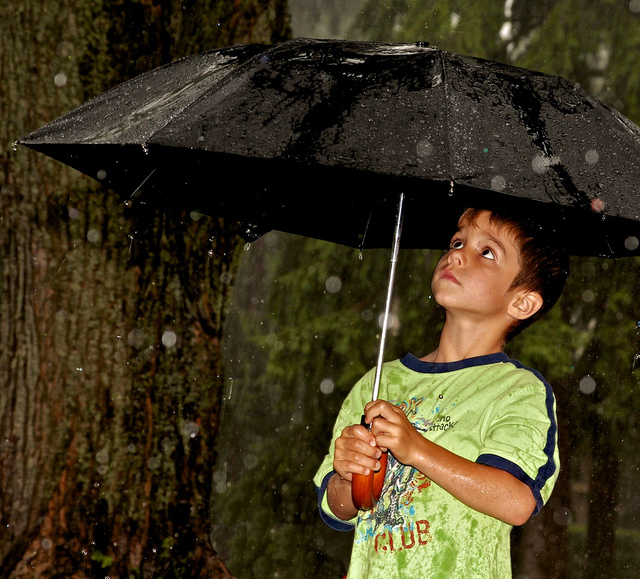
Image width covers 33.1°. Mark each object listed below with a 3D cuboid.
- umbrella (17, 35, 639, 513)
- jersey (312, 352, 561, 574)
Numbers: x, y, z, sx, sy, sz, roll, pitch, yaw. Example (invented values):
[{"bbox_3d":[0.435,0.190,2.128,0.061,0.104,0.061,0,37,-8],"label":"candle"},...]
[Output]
[{"bbox_3d":[0.170,-0.461,4.606,2.303,1.602,0.917,3,57,22],"label":"umbrella"},{"bbox_3d":[0.456,0.652,4.349,1.013,0.595,0.926,-13,56,13],"label":"jersey"}]
